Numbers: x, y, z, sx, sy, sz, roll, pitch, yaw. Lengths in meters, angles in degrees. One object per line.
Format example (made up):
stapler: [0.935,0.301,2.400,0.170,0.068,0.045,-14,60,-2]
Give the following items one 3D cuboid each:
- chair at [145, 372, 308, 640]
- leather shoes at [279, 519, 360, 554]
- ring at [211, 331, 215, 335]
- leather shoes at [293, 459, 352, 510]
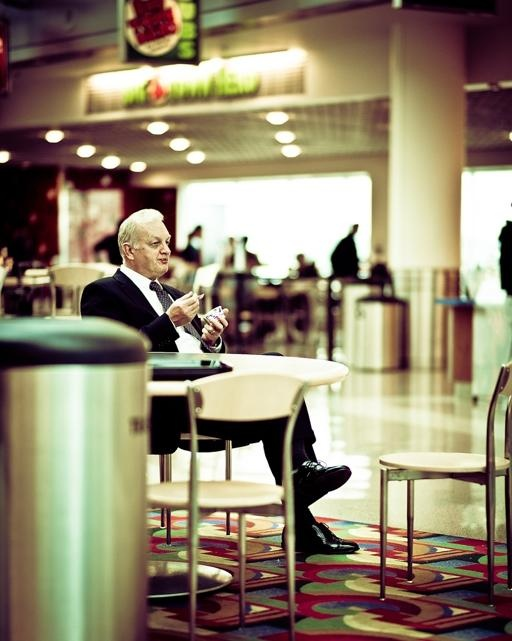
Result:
chair: [-0.078,0.463,1.918,0.383,0.503,0.423,-1,0,-3]
leather shoes: [0.229,0.790,2.841,0.398,0.134,0.126,-1,-2,3]
ring: [-0.152,0.045,2.762,0.017,0.012,0.003,5,15,6]
leather shoes: [0.176,0.576,2.697,0.282,0.107,0.091,-28,-25,13]
